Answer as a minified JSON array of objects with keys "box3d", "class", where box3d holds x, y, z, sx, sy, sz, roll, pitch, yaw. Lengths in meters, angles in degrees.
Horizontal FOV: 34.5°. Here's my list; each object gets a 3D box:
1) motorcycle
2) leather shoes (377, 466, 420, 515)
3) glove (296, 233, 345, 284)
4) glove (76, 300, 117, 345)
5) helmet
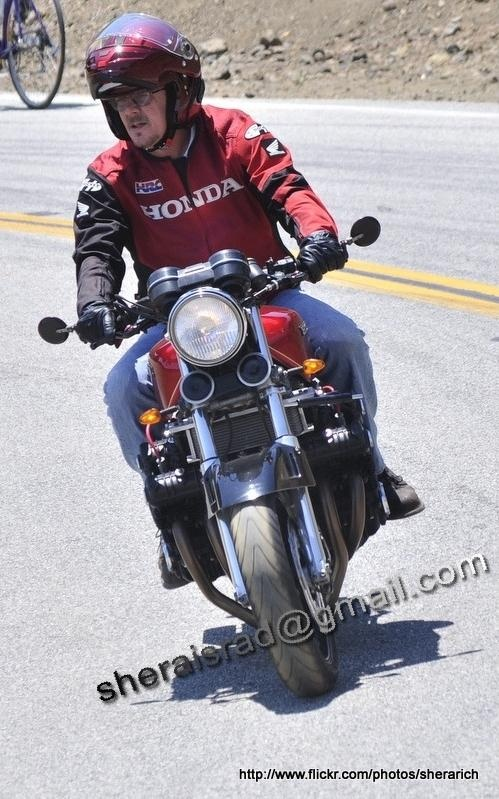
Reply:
[{"box3d":[0.083,0.206,2.442,0.806,1.326,0.941,-11,22,-8],"class":"motorcycle"},{"box3d":[0.636,0.409,3.406,0.123,0.124,0.331,-27,-6,5],"class":"leather shoes"},{"box3d":[0.232,-0.466,2.585,0.149,0.080,0.189,-28,15,15],"class":"glove"},{"box3d":[-0.482,-0.224,2.530,0.124,0.147,0.063,5,-10,12],"class":"glove"},{"box3d":[-0.379,-1.199,3.017,0.276,0.486,0.506,7,25,33],"class":"helmet"}]
